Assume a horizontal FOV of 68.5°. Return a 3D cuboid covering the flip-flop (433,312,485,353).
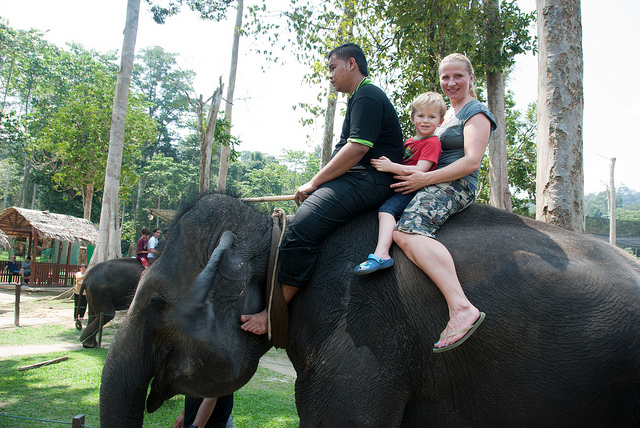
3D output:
[{"bbox_3d":[0.914,0.794,3.125,0.440,0.109,0.166,-36,-6,8],"label":"flip-flop"}]
